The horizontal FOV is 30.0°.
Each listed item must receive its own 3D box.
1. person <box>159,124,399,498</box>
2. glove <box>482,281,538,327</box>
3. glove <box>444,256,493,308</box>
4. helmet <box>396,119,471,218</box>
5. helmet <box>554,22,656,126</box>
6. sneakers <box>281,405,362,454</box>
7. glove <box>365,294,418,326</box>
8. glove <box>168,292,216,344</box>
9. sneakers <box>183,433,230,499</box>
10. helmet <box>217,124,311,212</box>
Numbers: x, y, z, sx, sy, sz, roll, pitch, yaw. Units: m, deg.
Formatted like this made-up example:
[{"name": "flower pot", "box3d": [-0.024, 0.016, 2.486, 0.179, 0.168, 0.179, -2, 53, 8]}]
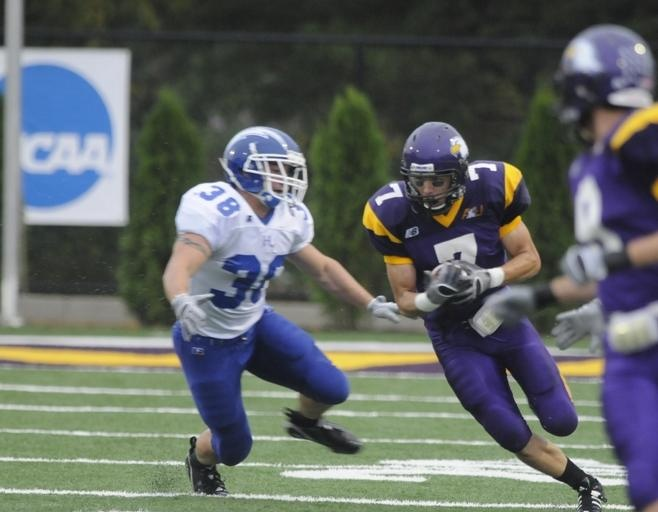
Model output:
[{"name": "person", "box3d": [-0.363, 0.310, 6.234, 1.166, 1.835, 0.693, -5, 16, -31]}, {"name": "glove", "box3d": [0.784, 0.213, 5.478, 0.082, 0.193, 0.146, 55, 8, 23]}, {"name": "glove", "box3d": [0.679, 0.130, 6.037, 0.241, 0.133, 0.184, 14, -3, 24]}, {"name": "helmet", "box3d": [0.537, -0.471, 6.316, 0.353, 0.405, 0.446, 2, 22, 22]}, {"name": "helmet", "box3d": [1.140, -0.756, 5.125, 0.419, 0.410, 0.339, -2, 4, 18]}, {"name": "sneakers", "box3d": [-0.043, 0.922, 6.379, 0.470, 0.206, 0.171, 13, 15, 7]}, {"name": "glove", "box3d": [0.296, 0.254, 6.335, 0.181, 0.082, 0.139, 27, 3, 28]}, {"name": "glove", "box3d": [-0.649, 0.268, 5.786, 0.184, 0.213, 0.275, 2, 13, -5]}, {"name": "sneakers", "box3d": [-0.656, 1.101, 6.413, 0.126, 0.159, 0.376, -13, 59, -46]}, {"name": "helmet", "box3d": [-0.340, -0.461, 6.343, 0.467, 0.399, 0.352, 10, 4, 35]}]
